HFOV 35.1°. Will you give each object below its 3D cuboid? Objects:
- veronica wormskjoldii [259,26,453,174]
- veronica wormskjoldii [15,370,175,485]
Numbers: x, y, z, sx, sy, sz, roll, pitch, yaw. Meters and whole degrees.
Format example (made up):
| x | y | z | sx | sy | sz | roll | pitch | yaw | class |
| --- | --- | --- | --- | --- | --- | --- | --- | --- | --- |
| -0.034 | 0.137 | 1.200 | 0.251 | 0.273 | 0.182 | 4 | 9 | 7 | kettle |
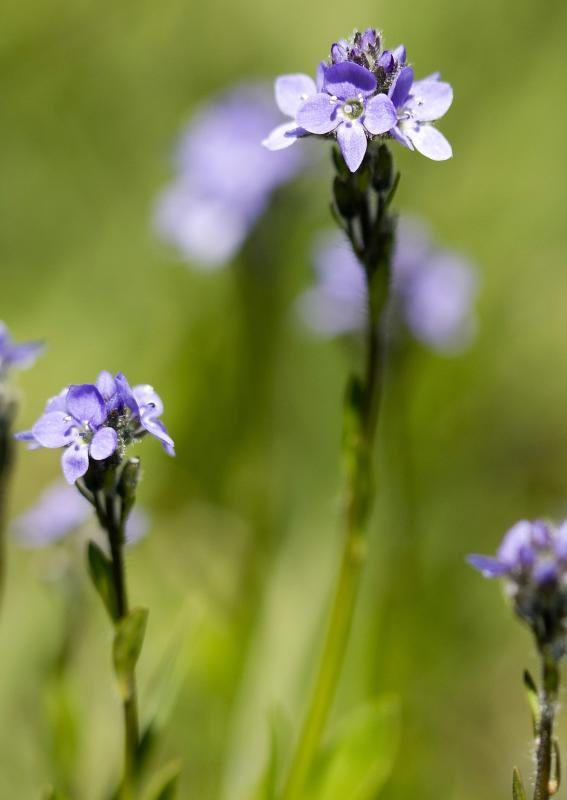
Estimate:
| x | y | z | sx | sy | sz | roll | pitch | yaw | class |
| --- | --- | --- | --- | --- | --- | --- | --- | --- | --- |
| 0.049 | -0.195 | 0.581 | 0.121 | 0.082 | 0.098 | 8 | -3 | 7 | veronica wormskjoldii |
| -0.116 | 0.035 | 0.515 | 0.071 | 0.043 | 0.079 | -8 | -22 | 9 | veronica wormskjoldii |
